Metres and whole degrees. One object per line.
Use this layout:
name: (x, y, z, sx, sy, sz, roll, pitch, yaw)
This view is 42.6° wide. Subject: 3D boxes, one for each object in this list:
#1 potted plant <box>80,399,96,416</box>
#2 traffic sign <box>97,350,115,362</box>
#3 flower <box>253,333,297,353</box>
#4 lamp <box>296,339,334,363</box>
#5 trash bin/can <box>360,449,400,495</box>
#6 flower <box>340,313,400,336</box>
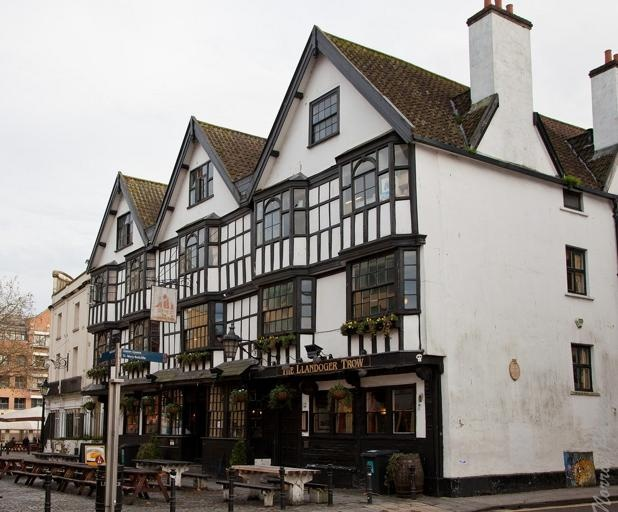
potted plant: (-11.748, 8.112, 42.780, 1.027, 0.749, 1.119, -3, -3, 24)
traffic sign: (-4.515, 2.218, 17.543, 0.438, 0.156, 0.552, -2, -6, -42)
flower: (-1.142, 2.965, 27.611, 0.337, 0.743, 2.242, 11, -22, -36)
lamp: (0.253, 3.072, 25.850, 0.513, 0.560, 0.721, -10, -14, 42)
trash bin/can: (2.111, 6.361, 23.230, 1.004, 1.504, 1.062, 10, -16, -33)
flower: (1.879, 2.118, 24.256, 0.287, 0.769, 2.248, 12, -23, -38)
